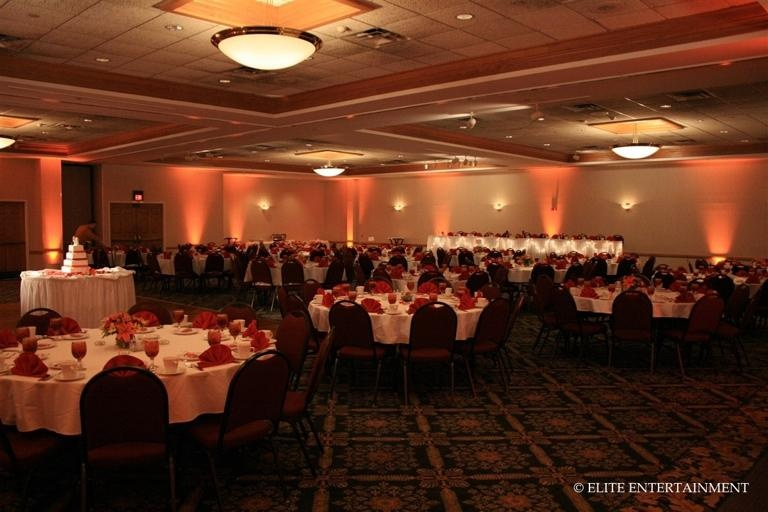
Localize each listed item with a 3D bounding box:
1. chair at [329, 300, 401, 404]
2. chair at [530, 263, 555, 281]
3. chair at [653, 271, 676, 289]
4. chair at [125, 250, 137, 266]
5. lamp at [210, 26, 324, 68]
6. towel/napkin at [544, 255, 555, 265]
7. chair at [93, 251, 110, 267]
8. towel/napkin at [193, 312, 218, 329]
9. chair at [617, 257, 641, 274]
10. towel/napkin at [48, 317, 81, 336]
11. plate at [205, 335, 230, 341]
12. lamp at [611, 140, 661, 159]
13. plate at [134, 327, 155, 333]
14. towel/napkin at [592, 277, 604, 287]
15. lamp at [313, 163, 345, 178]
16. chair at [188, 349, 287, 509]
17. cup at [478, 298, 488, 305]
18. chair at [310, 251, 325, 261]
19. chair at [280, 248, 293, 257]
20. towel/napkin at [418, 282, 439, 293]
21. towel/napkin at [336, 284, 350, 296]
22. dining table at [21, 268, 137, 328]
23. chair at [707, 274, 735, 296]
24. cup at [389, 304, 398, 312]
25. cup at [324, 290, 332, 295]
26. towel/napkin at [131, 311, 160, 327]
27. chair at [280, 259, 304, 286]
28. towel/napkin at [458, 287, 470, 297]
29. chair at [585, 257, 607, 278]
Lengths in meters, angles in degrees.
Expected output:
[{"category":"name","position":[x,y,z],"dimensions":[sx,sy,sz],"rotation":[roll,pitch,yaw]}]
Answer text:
[{"category":"chair","position":[-0.304,1.049,5.996],"dimensions":[0.650,1.181,1.076],"rotation":[3,12,0]},{"category":"chair","position":[3.242,0.327,10.200],"dimensions":[0.670,0.410,0.530],"rotation":[-1,-4,8]},{"category":"chair","position":[4.730,0.425,8.527],"dimensions":[0.413,0.245,0.175],"rotation":[3,9,16]},{"category":"chair","position":[-7.093,0.064,14.305],"dimensions":[0.347,0.436,0.282],"rotation":[-1,14,-17]},{"category":"lamp","position":[-1.086,-2.002,4.832],"dimensions":[0.738,0.112,0.606],"rotation":[0,2,-21]},{"category":"towel/napkin","position":[4.058,0.104,12.325],"dimensions":[0.337,0.239,0.290],"rotation":[3,7,25]},{"category":"chair","position":[-7.841,0.104,14.027],"dimensions":[0.357,0.224,0.496],"rotation":[4,-17,5]},{"category":"towel/napkin","position":[-1.754,0.665,5.052],"dimensions":[0.229,0.173,0.083],"rotation":[5,-22,2]},{"category":"chair","position":[5.805,0.242,11.978],"dimensions":[0.523,0.447,0.306],"rotation":[6,11,19]},{"category":"towel/napkin","position":[-3.044,0.680,4.821],"dimensions":[0.223,0.068,0.248],"rotation":[-1,1,-28]},{"category":"plate","position":[-1.462,0.729,4.448],"dimensions":[0.207,0.017,0.161],"rotation":[0,-1,-4]},{"category":"lamp","position":[5.346,-2.254,10.723],"dimensions":[1.003,0.207,0.797],"rotation":[0,2,10]},{"category":"plate","position":[-2.261,0.717,4.827],"dimensions":[0.159,0.016,0.128],"rotation":[1,0,17]},{"category":"towel/napkin","position":[3.326,0.420,7.843],"dimensions":[0.208,0.120,0.164],"rotation":[-2,0,-10]},{"category":"lamp","position":[-1.633,-3.014,17.816],"dimensions":[1.015,0.223,0.973],"rotation":[0,0,-42]},{"category":"chair","position":[-1.194,1.281,3.956],"dimensions":[0.787,1.260,0.651],"rotation":[15,18,42]},{"category":"cup","position":[1.270,0.600,6.492],"dimensions":[0.111,0.055,0.106],"rotation":[0,4,0]},{"category":"chair","position":[-1.632,0.013,12.387],"dimensions":[0.406,0.234,0.317],"rotation":[1,-1,-7]},{"category":"chair","position":[-2.596,-0.063,13.621],"dimensions":[0.338,0.152,0.259],"rotation":[2,6,8]},{"category":"towel/napkin","position":[0.645,0.457,6.912],"dimensions":[0.215,0.130,0.234],"rotation":[-7,13,-39]},{"category":"towel/napkin","position":[-0.533,0.459,6.678],"dimensions":[0.194,0.112,0.150],"rotation":[-1,3,-4]},{"category":"dining table","position":[-5.283,0.652,8.736],"dimensions":[2.223,0.985,1.744],"rotation":[0,-3,-9]},{"category":"chair","position":[5.608,0.508,8.415],"dimensions":[0.515,0.330,0.402],"rotation":[0,7,9]},{"category":"cup","position":[0.117,0.625,5.899],"dimensions":[0.104,0.051,0.081],"rotation":[3,-4,-8]},{"category":"cup","position":[-0.724,0.490,6.673],"dimensions":[0.069,0.054,0.060],"rotation":[1,-2,-18]},{"category":"towel/napkin","position":[-2.206,0.608,4.720],"dimensions":[0.214,0.055,0.186],"rotation":[1,6,-21]},{"category":"chair","position":[-1.866,0.363,10.350],"dimensions":[0.458,0.523,0.470],"rotation":[0,12,-10]},{"category":"towel/napkin","position":[1.024,0.468,6.381],"dimensions":[0.160,0.069,0.127],"rotation":[1,3,23]},{"category":"chair","position":[4.667,0.311,11.138],"dimensions":[0.310,0.459,0.993],"rotation":[11,13,32]}]
